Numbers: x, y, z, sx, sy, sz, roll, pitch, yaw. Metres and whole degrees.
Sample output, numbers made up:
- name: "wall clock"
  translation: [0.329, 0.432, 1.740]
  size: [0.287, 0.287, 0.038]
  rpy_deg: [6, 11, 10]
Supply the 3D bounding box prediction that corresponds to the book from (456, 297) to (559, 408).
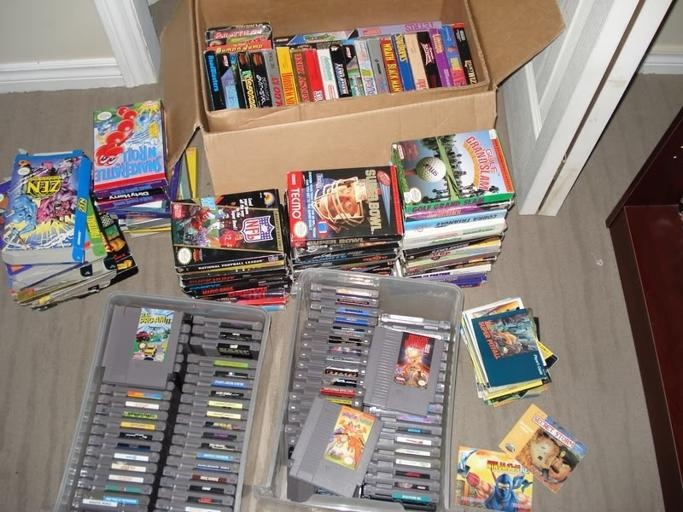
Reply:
- name: "book"
  translation: [0.781, 0.442, 2.879]
  size: [0.437, 0.113, 0.485]
  rpy_deg: [-7, 66, -2]
